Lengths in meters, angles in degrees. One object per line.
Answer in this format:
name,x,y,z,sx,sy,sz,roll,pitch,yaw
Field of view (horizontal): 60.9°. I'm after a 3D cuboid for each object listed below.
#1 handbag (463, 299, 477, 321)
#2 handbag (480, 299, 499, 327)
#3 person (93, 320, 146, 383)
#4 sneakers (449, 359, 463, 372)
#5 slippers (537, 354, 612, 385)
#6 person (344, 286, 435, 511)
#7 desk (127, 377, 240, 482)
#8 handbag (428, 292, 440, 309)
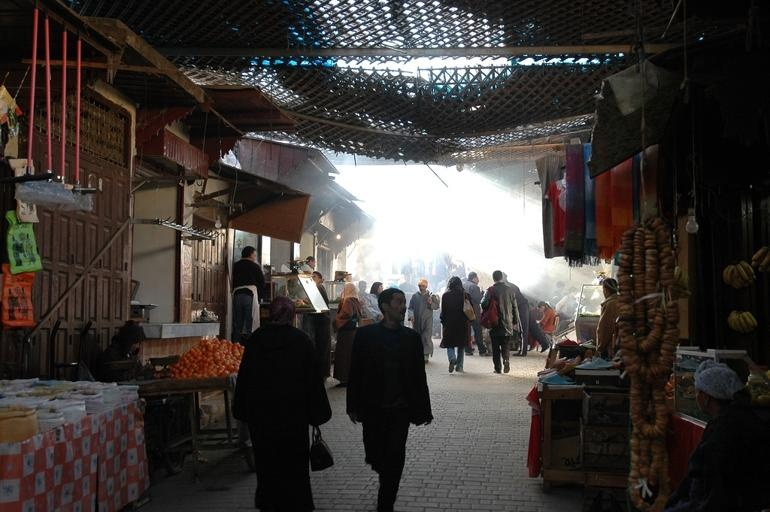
handbag,2.012,1.300,15.803,0.255,0.637,0.666,-20,-8,8
handbag,2.385,1.306,14.959,0.405,0.644,0.427,-1,-7,9
person,-3.585,1.279,8.860,0.579,0.820,1.214,3,-7,-23
sneakers,1.649,2.602,15.369,0.162,0.209,0.490,2,-6,14
slippers,2.115,1.310,7.453,0.542,0.163,0.399,-7,-4,0
person,0.035,1.396,6.457,0.836,2.180,0.287,0,-7,-3
desk,-2.314,2.144,7.963,0.985,1.186,1.842,0,-5,6
handbag,1.341,1.279,17.822,0.199,0.511,0.390,-10,12,12
